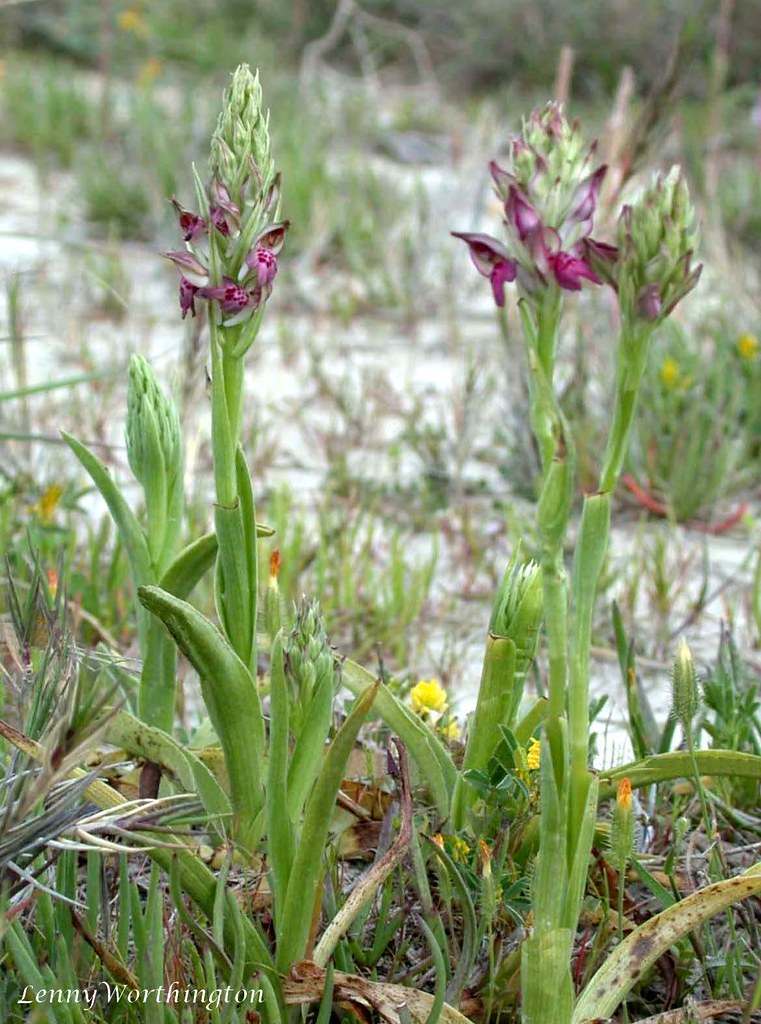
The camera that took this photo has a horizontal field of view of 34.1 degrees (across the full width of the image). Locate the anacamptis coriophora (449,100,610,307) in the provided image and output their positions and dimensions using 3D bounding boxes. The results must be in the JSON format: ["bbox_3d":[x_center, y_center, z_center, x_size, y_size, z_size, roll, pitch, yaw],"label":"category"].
[{"bbox_3d":[0.114,-0.223,0.936,0.110,0.173,0.169,7,26,9],"label":"anacamptis coriophora"}]

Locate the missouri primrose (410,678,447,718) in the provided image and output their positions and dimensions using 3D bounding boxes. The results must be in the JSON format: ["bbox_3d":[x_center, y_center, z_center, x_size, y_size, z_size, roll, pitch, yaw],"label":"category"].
[{"bbox_3d":[0.052,0.216,1.392,0.034,0.055,0.045,2,8,13],"label":"missouri primrose"}]

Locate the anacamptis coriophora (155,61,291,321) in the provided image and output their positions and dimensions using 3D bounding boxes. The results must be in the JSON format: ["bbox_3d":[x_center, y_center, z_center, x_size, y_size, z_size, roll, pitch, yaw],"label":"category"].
[{"bbox_3d":[-0.130,-0.257,1.057,0.103,0.232,0.173,-1,25,-7],"label":"anacamptis coriophora"}]
